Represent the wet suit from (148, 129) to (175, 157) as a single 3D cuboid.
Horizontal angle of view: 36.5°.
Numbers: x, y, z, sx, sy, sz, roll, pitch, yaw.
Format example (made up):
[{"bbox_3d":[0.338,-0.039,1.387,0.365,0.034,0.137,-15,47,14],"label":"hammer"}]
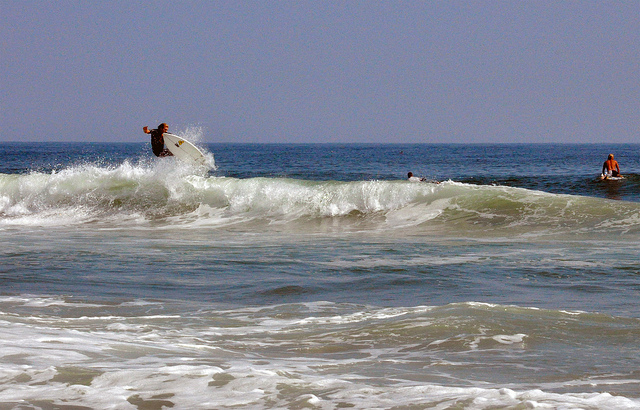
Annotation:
[{"bbox_3d":[-4.385,-1.711,26.898,0.543,0.846,1.001,-2,13,-9],"label":"wet suit"}]
